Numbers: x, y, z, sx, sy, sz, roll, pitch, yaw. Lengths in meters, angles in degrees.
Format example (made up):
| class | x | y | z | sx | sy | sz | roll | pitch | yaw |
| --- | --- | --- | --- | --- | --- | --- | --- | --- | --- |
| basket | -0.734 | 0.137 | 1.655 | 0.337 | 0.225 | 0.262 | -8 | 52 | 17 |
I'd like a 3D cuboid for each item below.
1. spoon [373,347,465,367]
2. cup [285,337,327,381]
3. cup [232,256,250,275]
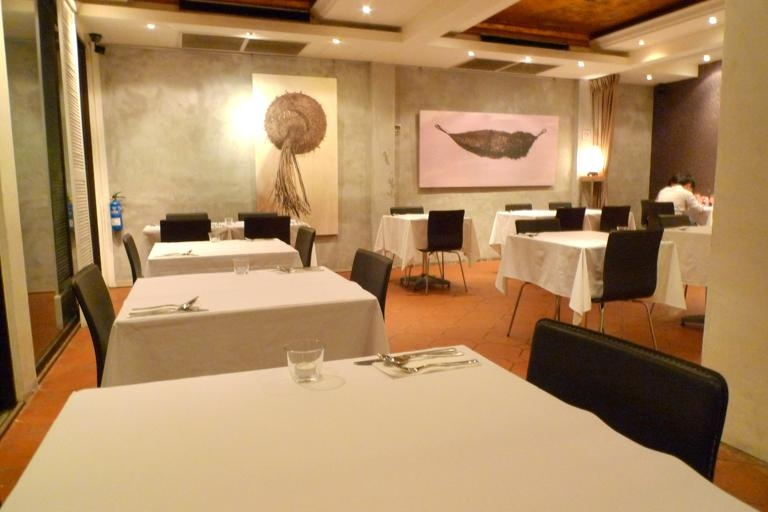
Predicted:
| class | x | y | z | sx | sy | sz | roll | pitch | yaw |
| --- | --- | --- | --- | --- | --- | --- | --- | --- | --- |
| spoon | 0.139 | 0.375 | 2.021 | 0.267 | 0.041 | 0.111 | -3 | 5 | -17 |
| cup | -0.278 | 0.370 | 1.914 | 0.140 | 0.105 | 0.114 | -1 | 11 | -21 |
| cup | -0.916 | 0.057 | 3.396 | 0.115 | 0.097 | 0.108 | 2 | 1 | 0 |
